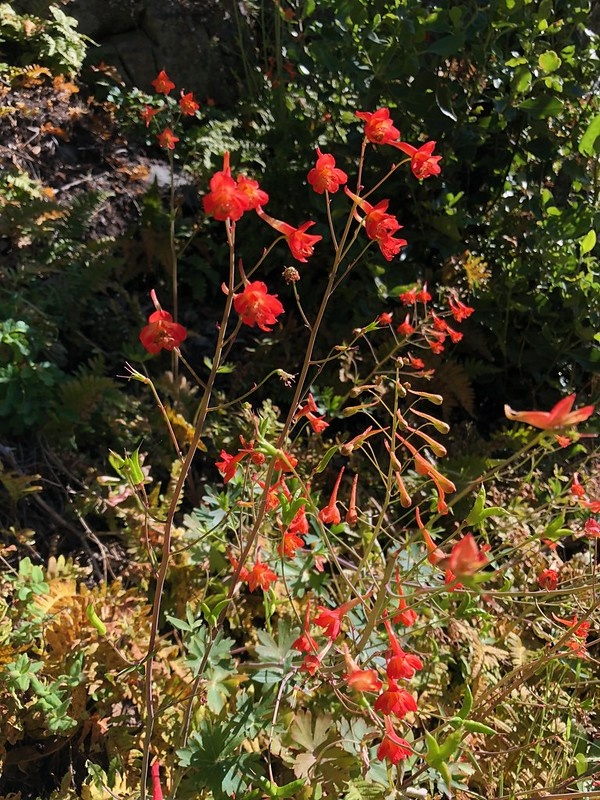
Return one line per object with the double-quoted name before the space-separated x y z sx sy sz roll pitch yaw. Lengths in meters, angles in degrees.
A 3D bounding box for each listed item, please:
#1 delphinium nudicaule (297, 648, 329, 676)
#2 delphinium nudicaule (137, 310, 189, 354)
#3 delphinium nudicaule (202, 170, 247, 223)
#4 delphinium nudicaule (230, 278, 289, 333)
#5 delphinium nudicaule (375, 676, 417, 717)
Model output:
"delphinium nudicaule" 0.026 0.548 1.690 0.042 0.036 0.103 31 -6 3
"delphinium nudicaule" -0.267 -0.140 1.603 0.103 0.087 0.044 11 31 -10
"delphinium nudicaule" -0.136 -0.372 1.465 0.076 0.090 0.137 16 16 -9
"delphinium nudicaule" -0.105 -0.189 1.557 0.131 0.096 0.065 -1 24 -16
"delphinium nudicaule" 0.177 0.570 1.511 0.067 0.040 0.083 -23 45 -16
